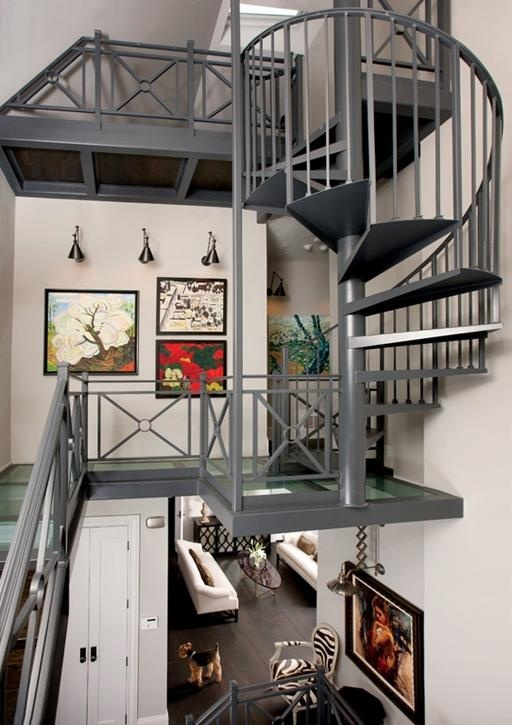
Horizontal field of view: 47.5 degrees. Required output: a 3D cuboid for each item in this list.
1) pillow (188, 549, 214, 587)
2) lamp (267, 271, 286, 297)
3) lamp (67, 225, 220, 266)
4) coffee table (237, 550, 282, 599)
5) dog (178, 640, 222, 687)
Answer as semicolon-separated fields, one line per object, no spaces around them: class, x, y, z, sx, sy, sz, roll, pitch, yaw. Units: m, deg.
pillow;-0.738;2.773;7.838;0.125;0.207;0.773;-26;14;-10
lamp;0.274;-1.059;7.837;0.248;0.366;0.191;-2;-2;-5
lamp;-1.059;-1.147;5.673;1.457;0.373;0.221;-2;-2;-15
coffee table;0.060;3.077;8.449;0.515;0.465;1.011;-1;-2;-31
dog;-0.527;3.064;5.976;0.346;0.409;0.508;-2;-2;-5
